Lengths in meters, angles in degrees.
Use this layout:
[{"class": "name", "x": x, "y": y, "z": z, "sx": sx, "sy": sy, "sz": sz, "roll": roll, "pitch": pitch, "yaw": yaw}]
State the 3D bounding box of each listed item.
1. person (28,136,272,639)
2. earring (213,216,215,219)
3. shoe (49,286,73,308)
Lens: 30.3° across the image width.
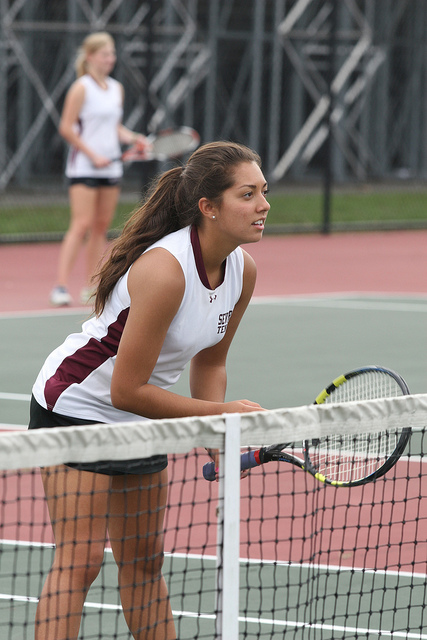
[{"class": "person", "x": -0.165, "y": 0.192, "z": 1.764, "sx": 0.568, "sy": 1.216, "sz": 0.725, "roll": 0, "pitch": 1, "yaw": 3}, {"class": "earring", "x": 0.001, "y": -0.222, "z": 1.706, "sx": 0.004, "sy": 0.004, "sz": 0.001, "roll": -1, "pitch": 5, "yaw": 0}, {"class": "shoe", "x": -1.421, "y": -0.217, "z": 7.448, "sx": 0.210, "sy": 0.197, "sz": 0.866, "roll": 0, "pitch": 1, "yaw": -10}]
